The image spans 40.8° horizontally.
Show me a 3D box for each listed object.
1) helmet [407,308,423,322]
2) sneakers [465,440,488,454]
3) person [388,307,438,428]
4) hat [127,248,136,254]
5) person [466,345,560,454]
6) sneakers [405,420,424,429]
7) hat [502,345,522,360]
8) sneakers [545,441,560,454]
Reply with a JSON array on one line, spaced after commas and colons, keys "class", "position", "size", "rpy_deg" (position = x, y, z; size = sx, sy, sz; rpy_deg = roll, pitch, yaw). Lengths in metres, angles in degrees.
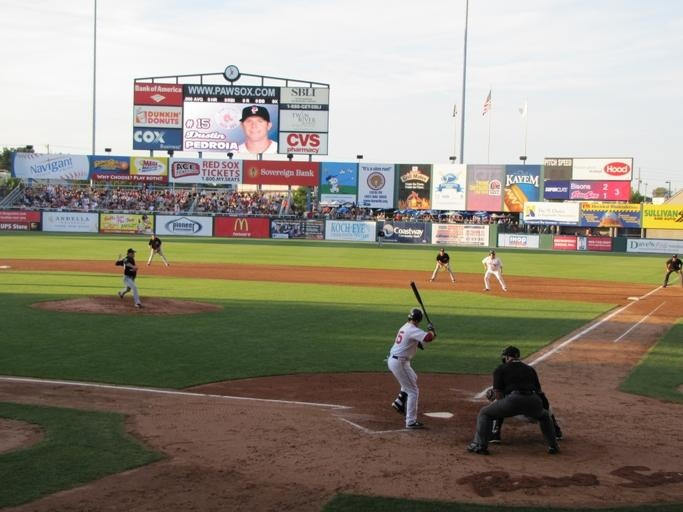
[{"class": "helmet", "position": [1.572, 1.233, 19.517], "size": [0.322, 0.289, 0.331], "rpy_deg": [1, 24, 10]}, {"class": "sneakers", "position": [2.684, 3.832, 18.290], "size": [0.424, 0.219, 0.197], "rpy_deg": [9, 3, 18]}, {"class": "person", "position": [1.428, 2.351, 19.409], "size": [0.721, 2.441, 0.966], "rpy_deg": [-1, 9, -27]}, {"class": "hat", "position": [-6.601, -0.145, 28.428], "size": [0.398, 0.107, 0.307], "rpy_deg": [0, 4, -11]}, {"class": "person", "position": [3.474, 2.941, 18.359], "size": [1.713, 1.976, 0.861], "rpy_deg": [3, 8, 6]}, {"class": "sneakers", "position": [1.521, 3.548, 19.220], "size": [0.428, 0.136, 0.134], "rpy_deg": [0, 10, -3]}, {"class": "hat", "position": [3.499, 1.986, 18.732], "size": [0.291, 0.241, 0.306], "rpy_deg": [1, 21, -24]}, {"class": "sneakers", "position": [4.216, 3.840, 18.283], "size": [0.225, 0.094, 0.265], "rpy_deg": [2, 14, 18]}]
